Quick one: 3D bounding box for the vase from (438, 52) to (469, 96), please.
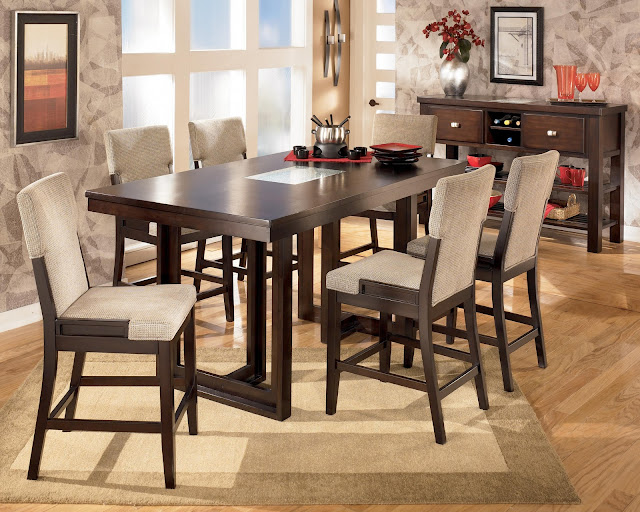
[{"bbox_3d":[1.310,-1.747,5.193,0.286,0.396,0.184,2,18,10],"label":"vase"}]

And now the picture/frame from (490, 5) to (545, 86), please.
[{"bbox_3d":[1.900,-2.019,5.132,0.567,0.738,0.094,11,22,34],"label":"picture/frame"}]

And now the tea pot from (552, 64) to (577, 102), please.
[{"bbox_3d":[2.149,-1.504,4.641,0.205,0.295,0.164,1,18,8],"label":"tea pot"}]

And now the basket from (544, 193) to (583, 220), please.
[{"bbox_3d":[2.143,-0.421,4.657,0.368,0.252,0.435,4,9,42],"label":"basket"}]

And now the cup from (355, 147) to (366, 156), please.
[{"bbox_3d":[0.243,-0.629,3.190,0.065,0.042,0.048,5,12,31],"label":"cup"}]

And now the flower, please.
[{"bbox_3d":[1.309,-2.194,5.293,0.662,0.549,0.517,9,20,29],"label":"flower"}]

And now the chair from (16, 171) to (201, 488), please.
[{"bbox_3d":[-0.788,0.235,1.948,0.618,1.052,0.640,-1,18,-2],"label":"chair"}]

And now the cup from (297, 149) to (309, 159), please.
[{"bbox_3d":[-0.099,-0.596,3.123,0.059,0.042,0.060,0,8,0],"label":"cup"}]

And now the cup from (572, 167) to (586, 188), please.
[{"bbox_3d":[2.277,-0.688,4.688,0.119,0.158,0.178,3,17,13],"label":"cup"}]

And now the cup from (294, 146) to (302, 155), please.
[{"bbox_3d":[-0.135,-0.627,3.167,0.049,0.047,0.060,0,0,-11],"label":"cup"}]

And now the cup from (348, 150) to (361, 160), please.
[{"bbox_3d":[0.207,-0.606,3.193,0.070,0.040,0.048,2,9,18],"label":"cup"}]
